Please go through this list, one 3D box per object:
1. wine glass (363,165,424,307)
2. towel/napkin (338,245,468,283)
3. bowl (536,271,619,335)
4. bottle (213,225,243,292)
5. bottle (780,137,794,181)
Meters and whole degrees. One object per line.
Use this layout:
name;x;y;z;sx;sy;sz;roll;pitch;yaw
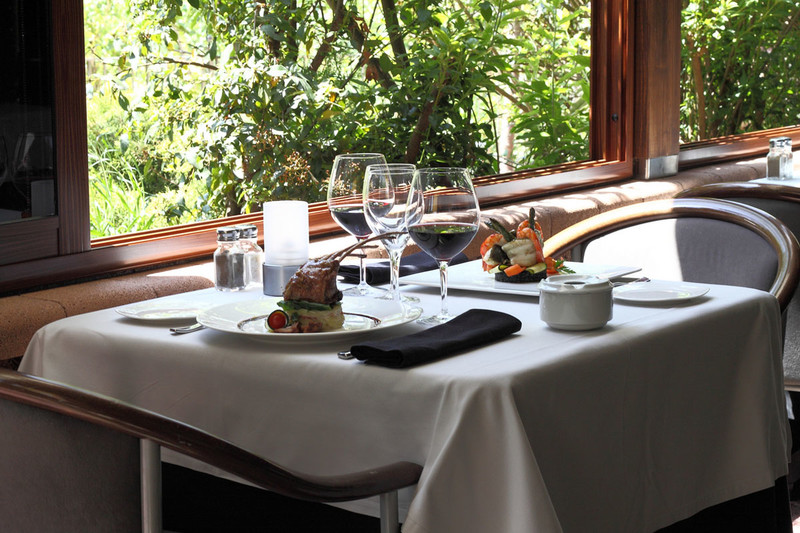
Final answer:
wine glass;-0.015;-0.073;1.200;0.136;0.322;0.134;-1;21;5
towel/napkin;-0.016;0.003;1.412;0.218;0.025;0.125;-11;18;-41
bowl;0.303;0.058;0.954;0.098;0.065;0.098;-1;1;0
bottle;-0.401;-0.013;1.308;0.077;0.139;0.076;-1;4;0
bottle;2.234;-0.619;3.208;0.078;0.232;0.330;5;12;33
